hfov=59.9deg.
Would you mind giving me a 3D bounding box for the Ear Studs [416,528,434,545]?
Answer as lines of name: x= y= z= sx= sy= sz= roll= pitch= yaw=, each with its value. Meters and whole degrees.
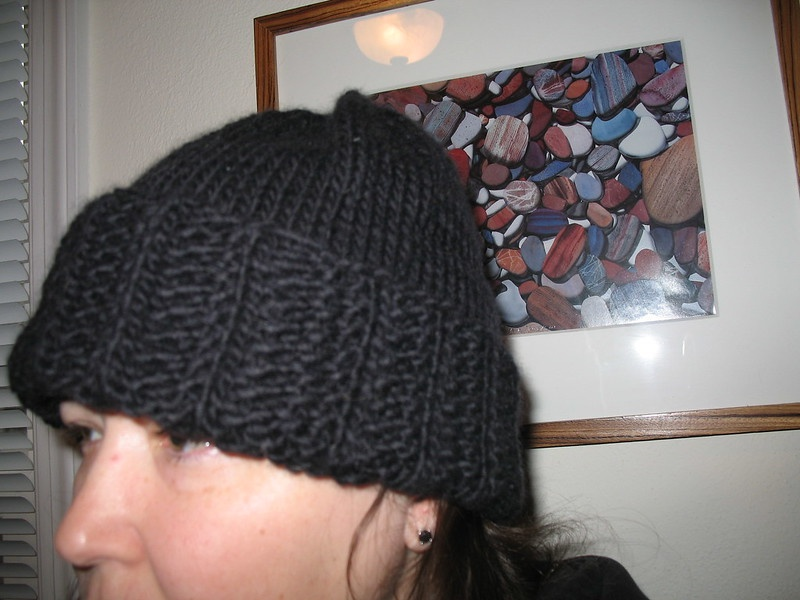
Ear Studs: x=0.050 y=0.464 z=1.362 sx=0.028 sy=0.028 sz=0.007 roll=-22 pitch=-1 yaw=-37
